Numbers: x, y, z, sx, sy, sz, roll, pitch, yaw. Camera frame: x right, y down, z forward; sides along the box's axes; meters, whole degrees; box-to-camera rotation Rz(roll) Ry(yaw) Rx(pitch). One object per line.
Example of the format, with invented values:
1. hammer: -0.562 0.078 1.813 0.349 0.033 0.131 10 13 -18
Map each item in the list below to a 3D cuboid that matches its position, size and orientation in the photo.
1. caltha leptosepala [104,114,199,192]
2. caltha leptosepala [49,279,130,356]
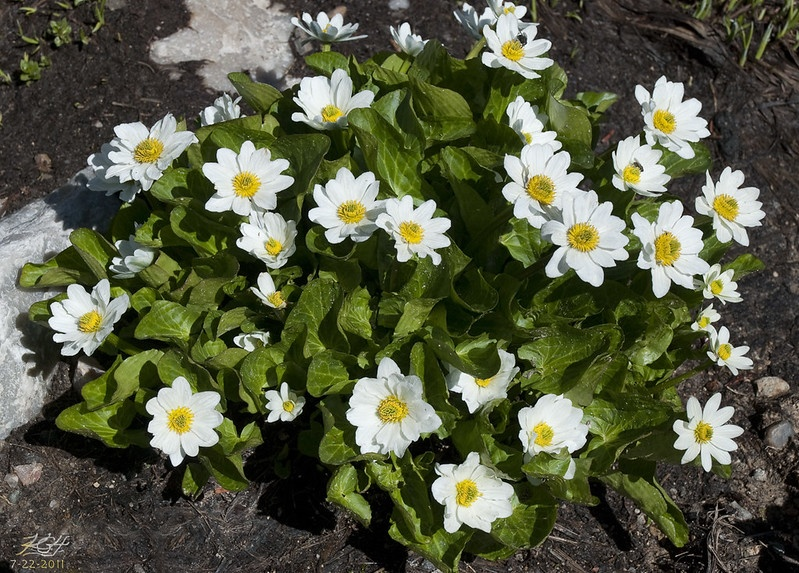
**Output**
1. caltha leptosepala: -1.362 -0.801 3.930 0.509 0.536 0.209 -26 98 12
2. caltha leptosepala: -1.598 0.161 3.800 0.348 0.170 0.444 -4 75 22
